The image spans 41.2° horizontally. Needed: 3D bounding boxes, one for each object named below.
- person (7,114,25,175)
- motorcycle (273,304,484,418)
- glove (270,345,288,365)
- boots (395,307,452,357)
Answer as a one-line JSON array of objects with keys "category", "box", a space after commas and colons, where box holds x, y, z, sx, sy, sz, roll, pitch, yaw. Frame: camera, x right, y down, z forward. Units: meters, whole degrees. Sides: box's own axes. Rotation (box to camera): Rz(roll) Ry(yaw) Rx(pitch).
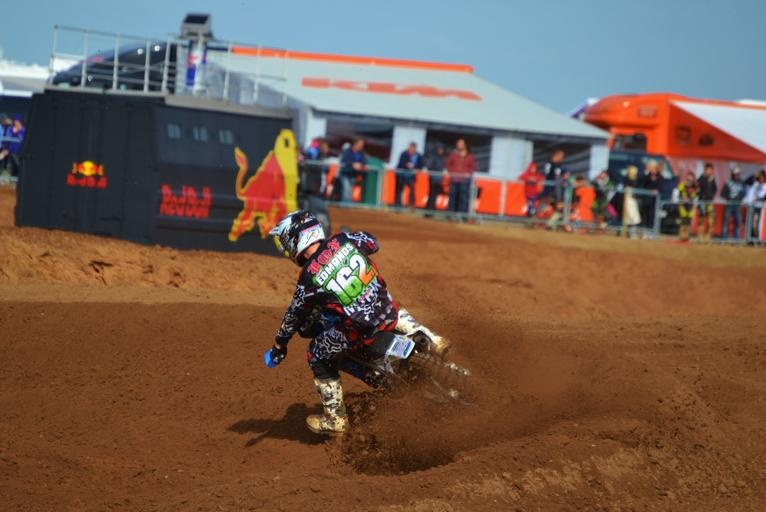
[{"category": "person", "box": [-9.206, -2.697, 25.632, 0.407, 1.332, 1.404, 2, 8, -21]}, {"category": "motorcycle", "box": [-0.007, 1.737, 16.304, 2.672, 1.517, 1.799, 27, 3, 20]}, {"category": "glove", "box": [-1.576, 1.483, 15.908, 0.203, 0.303, 0.264, 2, -38, 16]}, {"category": "boots", "box": [0.629, 1.206, 16.077, 0.912, 0.538, 0.263, 32, -16, -7]}]
